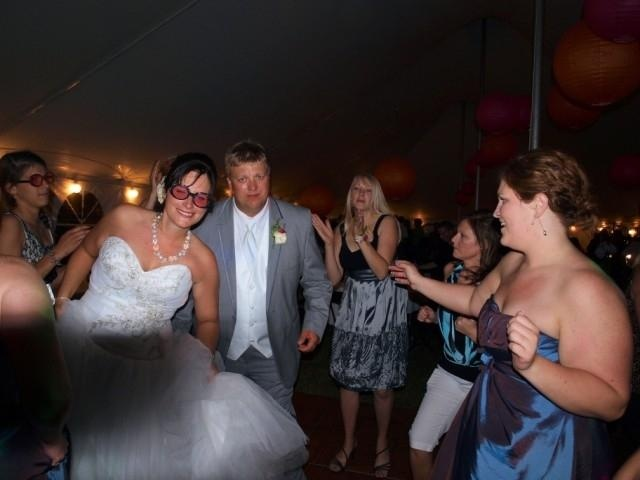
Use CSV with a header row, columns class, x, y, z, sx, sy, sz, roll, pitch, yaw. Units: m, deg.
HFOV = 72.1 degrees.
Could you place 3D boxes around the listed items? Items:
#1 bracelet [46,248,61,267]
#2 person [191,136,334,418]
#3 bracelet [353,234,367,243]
class,x,y,z,sx,sy,sz,roll,pitch,yaw
bracelet,-2.056,0.132,3.422,0.096,0.140,0.035,-4,13,13
person,-0.539,0.675,3.567,1.138,2.793,0.931,2,18,4
bracelet,0.336,-0.014,3.720,0.071,0.061,0.083,0,-6,6
